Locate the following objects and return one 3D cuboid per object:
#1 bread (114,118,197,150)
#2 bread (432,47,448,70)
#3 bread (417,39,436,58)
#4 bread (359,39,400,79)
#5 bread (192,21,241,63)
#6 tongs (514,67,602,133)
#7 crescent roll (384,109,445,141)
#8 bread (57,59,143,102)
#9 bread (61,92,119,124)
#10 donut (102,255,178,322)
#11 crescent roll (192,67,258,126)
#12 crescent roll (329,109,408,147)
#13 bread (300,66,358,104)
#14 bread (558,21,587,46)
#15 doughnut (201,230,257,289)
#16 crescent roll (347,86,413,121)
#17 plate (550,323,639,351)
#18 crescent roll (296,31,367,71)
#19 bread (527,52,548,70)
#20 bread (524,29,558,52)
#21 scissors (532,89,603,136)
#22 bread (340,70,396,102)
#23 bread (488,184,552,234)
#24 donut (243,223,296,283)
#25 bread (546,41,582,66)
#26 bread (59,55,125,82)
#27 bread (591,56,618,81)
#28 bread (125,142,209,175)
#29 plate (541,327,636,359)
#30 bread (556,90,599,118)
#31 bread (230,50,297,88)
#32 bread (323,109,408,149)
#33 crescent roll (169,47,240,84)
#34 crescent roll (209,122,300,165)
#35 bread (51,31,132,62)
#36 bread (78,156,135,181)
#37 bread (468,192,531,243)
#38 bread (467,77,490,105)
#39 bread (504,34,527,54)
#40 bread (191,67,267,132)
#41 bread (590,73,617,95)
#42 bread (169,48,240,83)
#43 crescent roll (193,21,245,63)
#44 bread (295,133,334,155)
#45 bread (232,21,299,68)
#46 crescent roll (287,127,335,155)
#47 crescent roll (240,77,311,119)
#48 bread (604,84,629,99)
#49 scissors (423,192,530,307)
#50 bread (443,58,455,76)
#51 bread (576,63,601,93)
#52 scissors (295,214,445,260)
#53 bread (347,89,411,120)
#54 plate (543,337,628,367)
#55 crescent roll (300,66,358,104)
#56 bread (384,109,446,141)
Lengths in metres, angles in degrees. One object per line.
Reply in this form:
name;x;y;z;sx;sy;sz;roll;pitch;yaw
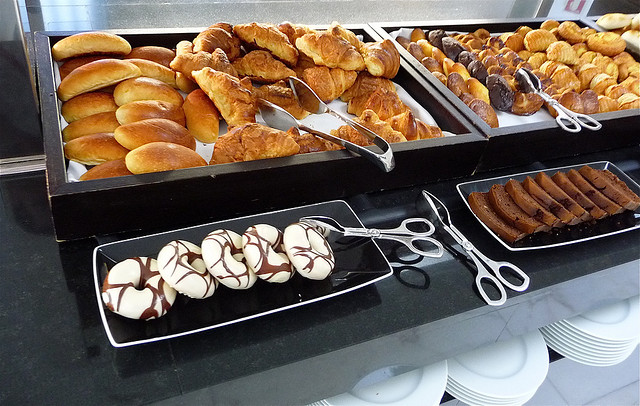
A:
bread;-0.418;-0.176;1.120;0.140;0.045;0.104;4;29;-31
bread;0.426;-0.513;1.568;0.041;0.026;0.079;-9;57;-8
bread;0.386;-0.564;1.594;0.058;0.036;0.069;-3;45;-37
bread;0.171;-0.454;1.464;0.132;0.090;0.231;18;10;0
bread;-0.312;-0.496;1.333;0.111;0.073;0.205;9;38;-2
tongs;0.769;-0.332;1.479;0.121;0.079;0.349;-14;46;-10
crescent roll;0.271;-0.218;1.318;0.175;0.068;0.094;15;79;-14
bread;-0.618;-0.355;1.205;0.117;0.077;0.220;27;46;35
bread;-0.631;-0.272;1.195;0.079;0.052;0.145;35;46;27
donut;-0.385;0.185;0.924;0.121;0.061;0.126;-33;61;-32
crescent roll;-0.255;-0.291;1.238;0.181;0.058;0.144;49;27;-3
crescent roll;0.181;-0.228;1.259;0.162;0.143;0.049;16;75;-12
bread;0.025;-0.377;1.350;0.139;0.050;0.102;-24;62;-25
bread;1.007;-0.678;1.766;0.084;0.031;0.097;18;28;-20
doughnut;-0.181;0.111;0.968;0.043;0.123;0.124;13;56;-63
crescent roll;0.176;-0.301;1.341;0.192;0.075;0.104;-3;46;1
plate;0.852;0.411;1.347;0.126;0.125;0.017;18;87;-19
crescent roll;0.038;-0.462;1.359;0.221;0.092;0.095;-1;49;-10
bread;0.831;-0.543;1.668;0.101;0.033;0.053;-32;61;-32
bread;0.870;-0.631;1.732;0.109;0.039;0.083;-13;64;-9
scissors;0.794;-0.276;1.430;0.119;0.028;0.233;-13;37;-16
bread;0.152;-0.378;1.393;0.163;0.063;0.088;-9;53;1
bread;0.532;0.021;1.193;0.123;0.036;0.135;3;45;-38
donut;-0.114;0.103;0.973;0.124;0.041;0.125;24;58;-36
bread;0.917;-0.562;1.687;0.141;0.056;0.081;5;43;-20
bread;-0.668;-0.400;1.262;0.126;0.038;0.100;-12;26;-23
bread;1.097;-0.510;1.719;0.089;0.028;0.096;-11;50;-22
bread;-0.372;-0.110;1.069;0.127;0.042;0.095;-2;24;-24
plate;0.778;0.432;1.322;0.190;0.193;0.033;17;57;-3
bread;0.870;-0.318;1.509;0.135;0.051;0.105;11;42;5
bread;-0.183;-0.435;1.389;0.214;0.084;0.119;14;36;7
bread;0.148;-0.231;1.268;0.180;0.222;0.076;-5;80;11
crescent roll;-0.341;-0.402;1.252;0.136;0.051;0.110;0;37;-9
crescent roll;-0.197;-0.161;1.179;0.276;0.101;0.150;-14;16;-29
bread;-0.667;-0.448;1.272;0.210;0.087;0.095;-15;53;-22
bread;-0.527;-0.082;1.062;0.074;0.022;0.074;-2;35;-14
bread;0.470;0.037;1.169;0.139;0.032;0.133;10;40;-25
bread;0.521;-0.376;1.477;0.053;0.032;0.094;-12;61;-24
bread;0.760;-0.622;1.736;0.080;0.026;0.080;39;68;16
bread;-0.276;-0.284;1.268;0.193;0.067;0.162;48;34;8
bread;1.037;-0.442;1.618;0.090;0.032;0.091;-11;47;-4
bread;-0.345;-0.414;1.310;0.146;0.069;0.187;19;16;8
crescent roll;-0.308;-0.495;1.338;0.112;0.074;0.206;-5;35;-4
bread;-0.020;-0.161;1.184;0.060;0.029;0.081;-16;33;-24
bread;-0.156;-0.494;1.339;0.215;0.076;0.116;31;43;-1
crescent roll;-0.025;-0.163;1.183;0.076;0.037;0.102;-6;29;-26
crescent roll;-0.119;-0.329;1.332;0.192;0.069;0.143;-3;22;6
bread;1.059;-0.397;1.561;0.052;0.024;0.066;-10;34;0
scissors;0.397;0.132;1.167;0.122;0.074;0.317;-25;55;-14
bread;0.446;-0.475;1.525;0.043;0.017;0.057;18;63;-26
bread;0.998;-0.469;1.628;0.080;0.051;0.109;9;71;8
scissors;0.121;0.109;1.140;0.373;0.030;0.147;15;34;-6
bread;0.172;-0.301;1.341;0.185;0.072;0.100;0;50;1
plate;0.823;0.458;1.360;0.120;0.119;0.020;27;76;-8
crescent roll;0.026;-0.377;1.348;0.138;0.050;0.102;-23;68;-13
bread;0.270;-0.206;1.315;0.182;0.070;0.093;9;85;-15
